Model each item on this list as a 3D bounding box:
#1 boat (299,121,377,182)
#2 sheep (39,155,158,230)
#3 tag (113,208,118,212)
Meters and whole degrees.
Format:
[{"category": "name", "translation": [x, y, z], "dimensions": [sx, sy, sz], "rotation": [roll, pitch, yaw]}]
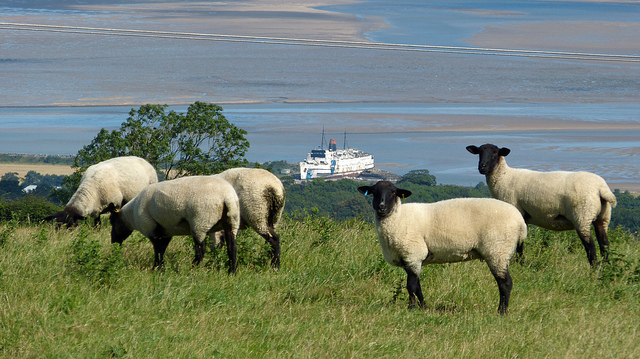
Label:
[{"category": "boat", "translation": [3.765, -2.406, 177.185], "dimensions": [3.969, 3.950, 23.402], "rotation": [8, 11, 28]}, {"category": "sheep", "translation": [-9.199, 0.407, 39.433], "dimensions": [6.629, 3.380, 3.502], "rotation": [3, 1, 40]}, {"category": "tag", "translation": [-8.127, 1.163, 39.008], "dimensions": [0.155, 0.129, 0.039], "rotation": [-2, -9, 2]}]
